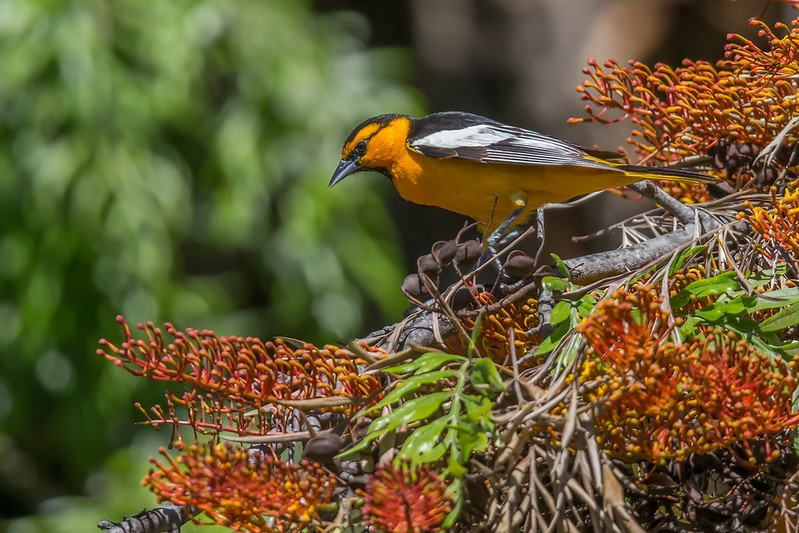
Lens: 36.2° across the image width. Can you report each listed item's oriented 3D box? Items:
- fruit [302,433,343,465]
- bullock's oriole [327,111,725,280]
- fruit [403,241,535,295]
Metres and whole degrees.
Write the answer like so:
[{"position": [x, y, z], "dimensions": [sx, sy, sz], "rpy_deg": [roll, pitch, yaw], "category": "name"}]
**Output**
[{"position": [-0.222, 0.537, 3.605], "dimensions": [0.104, 0.077, 0.065], "rpy_deg": [-25, 2, 2], "category": "fruit"}, {"position": [0.546, -0.294, 4.596], "dimensions": [1.756, 0.713, 0.532], "rpy_deg": [-2, 0, 22], "category": "bullock's oriole"}, {"position": [0.208, -0.013, 3.767], "dimensions": [0.271, 0.102, 0.218], "rpy_deg": [-10, 5, 3], "category": "fruit"}]
